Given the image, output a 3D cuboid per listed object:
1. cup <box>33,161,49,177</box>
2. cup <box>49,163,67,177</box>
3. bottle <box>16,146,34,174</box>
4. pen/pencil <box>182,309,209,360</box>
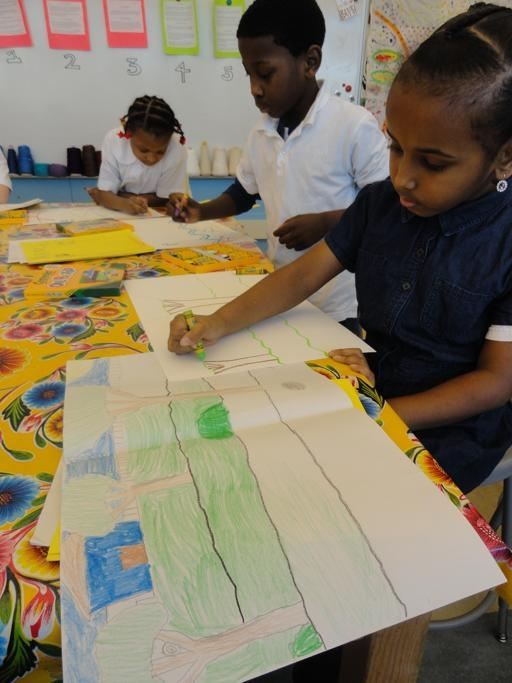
[{"bbox_3d":[-1.077,-0.871,2.647,0.074,0.066,0.071,1,21,0],"label":"cup"},{"bbox_3d":[-0.995,-0.864,2.651,0.076,0.051,0.072,2,24,-1],"label":"cup"},{"bbox_3d":[-1.147,-0.904,2.617,0.063,0.069,0.166,-10,43,-18],"label":"bottle"},{"bbox_3d":[-0.074,-0.007,0.644,0.019,0.079,0.014,-16,-17,-5],"label":"pen/pencil"}]
